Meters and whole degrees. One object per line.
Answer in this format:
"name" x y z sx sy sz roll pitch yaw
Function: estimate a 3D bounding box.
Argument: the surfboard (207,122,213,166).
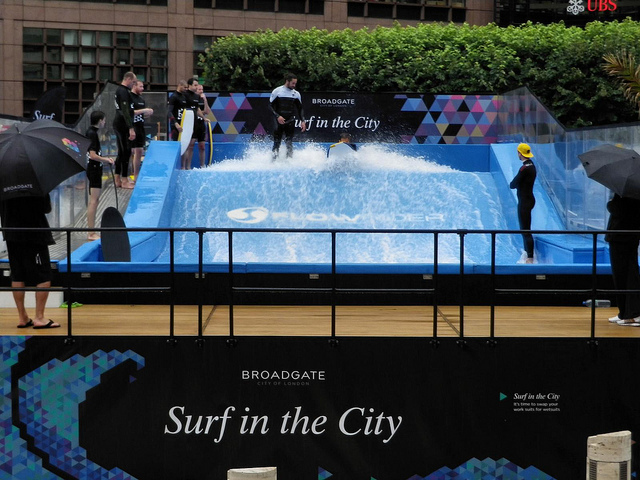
"surfboard" -2.470 -2.196 19.536 0.107 1.023 1.377 -1 13 -8

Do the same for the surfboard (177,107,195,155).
"surfboard" -2.693 -2.236 17.733 0.299 0.944 0.280 -2 12 -11

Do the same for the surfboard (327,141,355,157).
"surfboard" 0.459 -1.991 18.842 0.657 0.323 0.322 -6 14 -27

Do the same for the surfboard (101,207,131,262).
"surfboard" -3.158 -0.086 13.481 0.416 0.765 1.209 -3 13 -15
